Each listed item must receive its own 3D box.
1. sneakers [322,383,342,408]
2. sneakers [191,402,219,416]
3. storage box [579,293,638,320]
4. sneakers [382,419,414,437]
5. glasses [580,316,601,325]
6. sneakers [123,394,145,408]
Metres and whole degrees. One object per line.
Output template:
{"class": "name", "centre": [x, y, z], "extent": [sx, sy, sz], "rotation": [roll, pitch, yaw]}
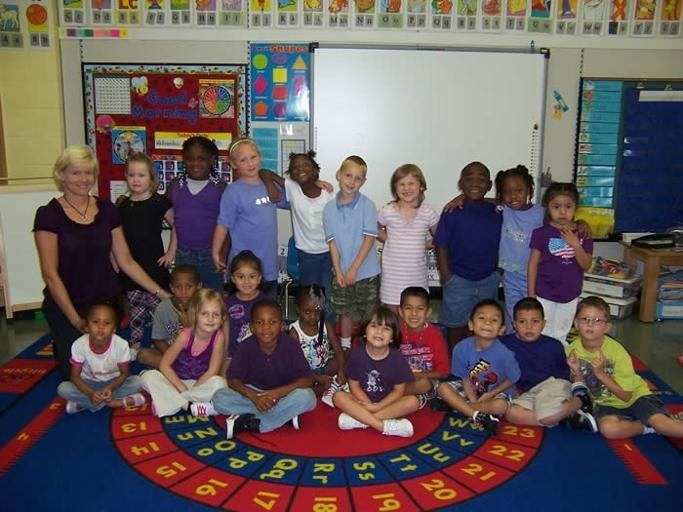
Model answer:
{"class": "sneakers", "centre": [-0.058, 0.871, 3.371], "extent": [0.105, 0.129, 0.304], "rotation": [1, -11, -1]}
{"class": "sneakers", "centre": [-0.825, 0.917, 3.229], "extent": [0.179, 0.068, 0.080], "rotation": [6, -26, 1]}
{"class": "storage box", "centre": [2.082, 0.392, 4.214], "extent": [0.311, 0.130, 0.356], "rotation": [4, 0, 19]}
{"class": "sneakers", "centre": [0.324, 0.976, 3.074], "extent": [0.149, 0.084, 0.059], "rotation": [-1, -14, 10]}
{"class": "glasses", "centre": [1.486, 0.379, 3.222], "extent": [0.117, 0.041, 0.026], "rotation": [4, 18, 17]}
{"class": "sneakers", "centre": [-1.277, 0.891, 3.328], "extent": [0.132, 0.061, 0.058], "rotation": [-4, 9, -12]}
